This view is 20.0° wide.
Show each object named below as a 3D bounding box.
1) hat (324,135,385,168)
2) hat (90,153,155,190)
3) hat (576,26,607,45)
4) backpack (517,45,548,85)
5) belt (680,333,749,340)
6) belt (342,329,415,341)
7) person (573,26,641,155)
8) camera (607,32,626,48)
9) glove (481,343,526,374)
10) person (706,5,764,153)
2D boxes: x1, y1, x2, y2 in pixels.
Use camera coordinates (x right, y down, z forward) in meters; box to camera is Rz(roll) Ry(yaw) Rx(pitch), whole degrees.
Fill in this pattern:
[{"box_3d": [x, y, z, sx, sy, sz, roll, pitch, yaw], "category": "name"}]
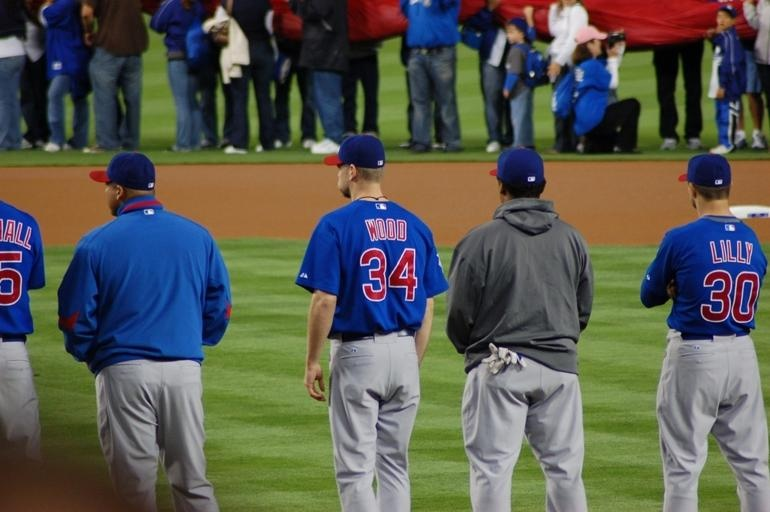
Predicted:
[{"box_3d": [-0.278, -1.131, 22.698, 0.510, 0.256, 0.349, 4, 12, 8], "category": "hat"}, {"box_3d": [-2.693, -0.914, 22.609, 0.599, 0.297, 0.382, 11, 11, 9], "category": "hat"}, {"box_3d": [2.836, -3.061, 29.536, 0.456, 0.255, 0.308, -4, 5, -43], "category": "hat"}, {"box_3d": [2.106, -2.642, 29.603, 0.517, 0.535, 0.421, 3, 16, 8], "category": "backpack"}, {"box_3d": [3.438, 0.808, 22.663, 0.685, 0.079, 0.085, 0, 4, -1], "category": "belt"}, {"box_3d": [-0.090, 0.799, 22.536, 0.802, 0.110, 0.105, -1, 4, -8], "category": "belt"}, {"box_3d": [3.004, -2.328, 29.945, 0.782, 1.735, 1.189, 1, 4, 21], "category": "person"}, {"box_3d": [3.170, -3.044, 29.823, 0.249, 0.131, 0.258, 0, 1, 10], "category": "camera"}, {"box_3d": [1.248, 1.033, 22.453, 0.366, 0.259, 0.165, -12, -4, -9], "category": "glove"}, {"box_3d": [4.774, -2.505, 30.177, 0.532, 2.073, 1.218, 0, 4, 8], "category": "person"}]
